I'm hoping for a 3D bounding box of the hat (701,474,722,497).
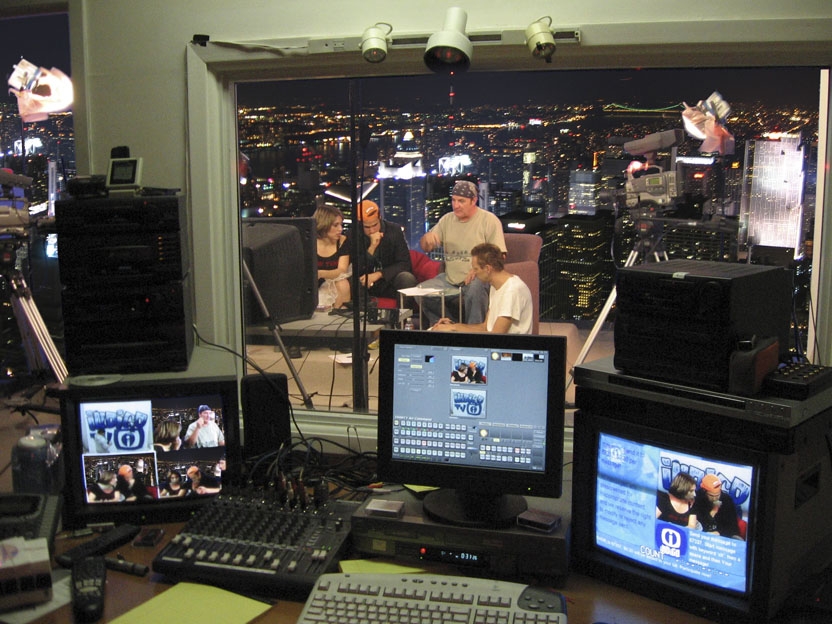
[{"bbox_3d":[0.810,0.471,2.185,0.049,0.054,0.057,-10,-9,-8],"label":"hat"}]

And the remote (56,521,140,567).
[{"bbox_3d":[-0.975,0.709,2.461,0.074,0.066,0.251,-2,19,24],"label":"remote"}]

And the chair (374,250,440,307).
[{"bbox_3d":[-0.053,-0.201,4.629,0.332,0.352,0.320,-1,4,3],"label":"chair"}]

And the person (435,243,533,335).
[{"bbox_3d":[0.463,-0.159,4.651,0.566,0.755,0.419,2,10,11],"label":"person"}]

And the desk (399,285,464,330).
[{"bbox_3d":[0.096,-0.053,4.603,0.310,0.291,0.251,15,25,32],"label":"desk"}]

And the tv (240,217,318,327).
[{"bbox_3d":[-0.643,-0.191,3.677,0.450,0.443,0.247,9,17,32],"label":"tv"}]

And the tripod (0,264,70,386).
[{"bbox_3d":[-1.690,0.051,3.585,0.303,0.492,0.135,8,15,41],"label":"tripod"}]

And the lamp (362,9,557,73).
[{"bbox_3d":[0.140,-0.939,2.767,0.675,0.212,0.261,0,11,10],"label":"lamp"}]

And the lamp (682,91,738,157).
[{"bbox_3d":[1.349,-0.863,3.679,0.225,0.275,0.198,5,13,32],"label":"lamp"}]

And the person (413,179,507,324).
[{"bbox_3d":[0.252,-0.366,4.384,0.512,0.804,0.448,14,26,33],"label":"person"}]
